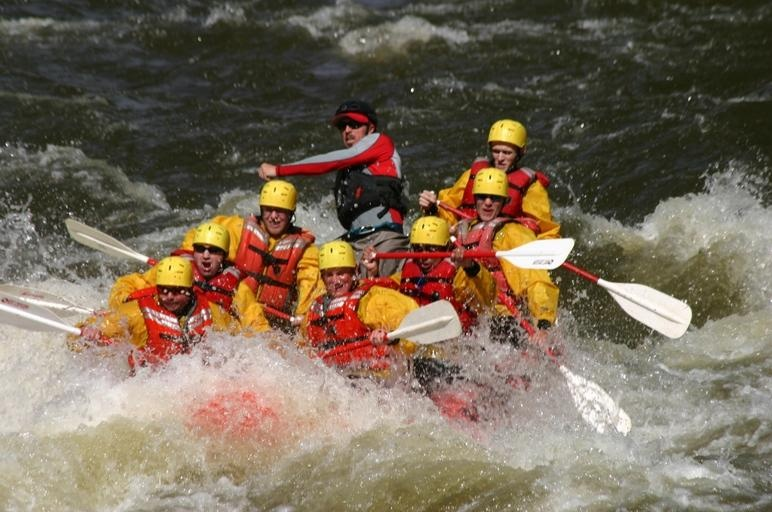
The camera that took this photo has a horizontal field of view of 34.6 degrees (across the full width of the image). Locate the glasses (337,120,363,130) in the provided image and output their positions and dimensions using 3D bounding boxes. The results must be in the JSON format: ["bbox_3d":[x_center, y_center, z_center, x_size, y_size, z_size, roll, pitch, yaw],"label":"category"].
[{"bbox_3d":[-0.552,-1.911,18.183,0.214,0.200,0.058,-4,47,14],"label":"glasses"}]

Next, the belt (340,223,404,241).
[{"bbox_3d":[-0.221,-0.338,18.007,0.580,0.346,0.148,-11,83,10],"label":"belt"}]

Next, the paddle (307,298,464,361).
[{"bbox_3d":[0.181,1.066,16.780,2.431,0.274,0.609,-13,90,20],"label":"paddle"}]

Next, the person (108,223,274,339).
[{"bbox_3d":[-2.700,0.438,17.522,1.377,0.625,1.701,18,46,17],"label":"person"}]

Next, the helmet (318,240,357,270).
[{"bbox_3d":[-0.710,0.001,17.201,0.359,0.475,0.350,-5,66,5],"label":"helmet"}]

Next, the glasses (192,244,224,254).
[{"bbox_3d":[-2.504,-0.046,17.516,0.417,0.232,0.091,-3,51,6],"label":"glasses"}]
